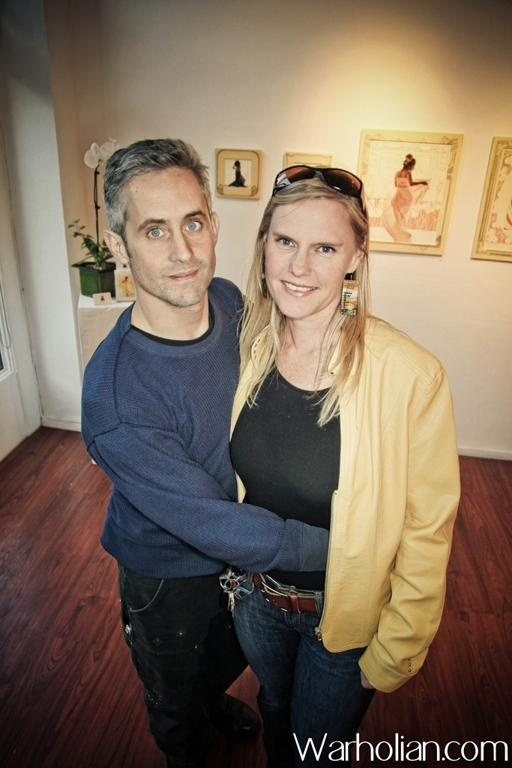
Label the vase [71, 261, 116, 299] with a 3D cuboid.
[{"bbox_3d":[-0.938,-0.621,3.216,0.203,0.166,0.236,9,23,18],"label":"vase"}]

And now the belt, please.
[{"bbox_3d":[0.074,0.502,1.293,0.127,0.047,0.098,22,-3,12],"label":"belt"}]
